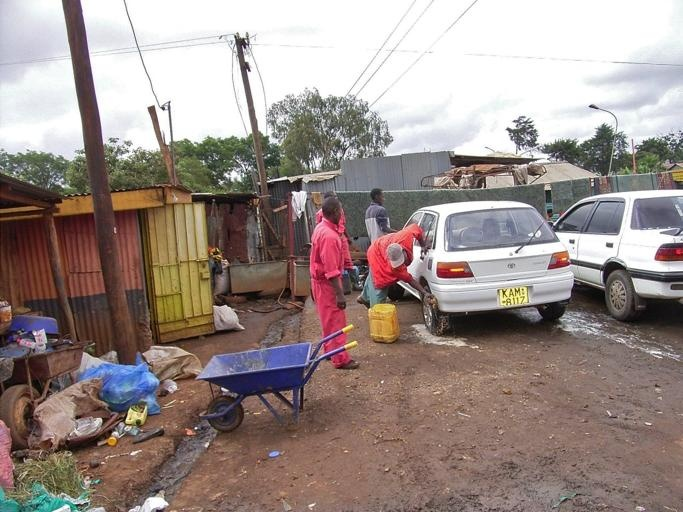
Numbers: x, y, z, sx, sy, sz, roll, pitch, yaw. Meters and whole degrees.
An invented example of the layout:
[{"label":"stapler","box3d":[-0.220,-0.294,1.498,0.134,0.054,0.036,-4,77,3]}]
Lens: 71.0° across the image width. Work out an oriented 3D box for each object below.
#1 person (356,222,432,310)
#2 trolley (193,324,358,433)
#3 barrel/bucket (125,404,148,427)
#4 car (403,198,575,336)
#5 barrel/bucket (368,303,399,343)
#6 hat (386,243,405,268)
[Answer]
[{"label":"person","box3d":[0.877,0.195,7.849,0.852,1.010,1.682,4,-12,-12]},{"label":"trolley","box3d":[-0.659,1.415,5.268,1.605,1.041,0.803,-1,6,-7]},{"label":"barrel/bucket","box3d":[-2.373,1.848,5.527,0.218,0.164,0.335,-8,12,-9]},{"label":"car","box3d":[2.136,0.200,6.997,2.125,1.899,1.292,-5,12,8]},{"label":"barrel/bucket","box3d":[0.598,0.987,7.010,0.472,0.564,0.328,-5,0,22]},{"label":"hat","box3d":[0.752,-0.024,6.786,0.214,0.347,0.183,-2,5,22]}]
